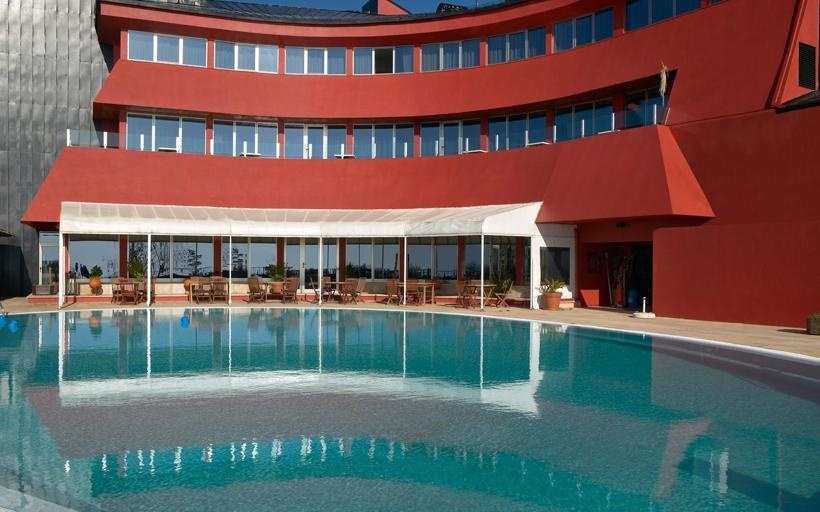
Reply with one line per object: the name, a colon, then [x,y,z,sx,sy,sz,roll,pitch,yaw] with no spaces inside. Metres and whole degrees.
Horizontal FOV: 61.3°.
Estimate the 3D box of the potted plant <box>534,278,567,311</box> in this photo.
potted plant: [7.098,1.920,35.003,1.466,1.495,1.372,2,-8,1]
